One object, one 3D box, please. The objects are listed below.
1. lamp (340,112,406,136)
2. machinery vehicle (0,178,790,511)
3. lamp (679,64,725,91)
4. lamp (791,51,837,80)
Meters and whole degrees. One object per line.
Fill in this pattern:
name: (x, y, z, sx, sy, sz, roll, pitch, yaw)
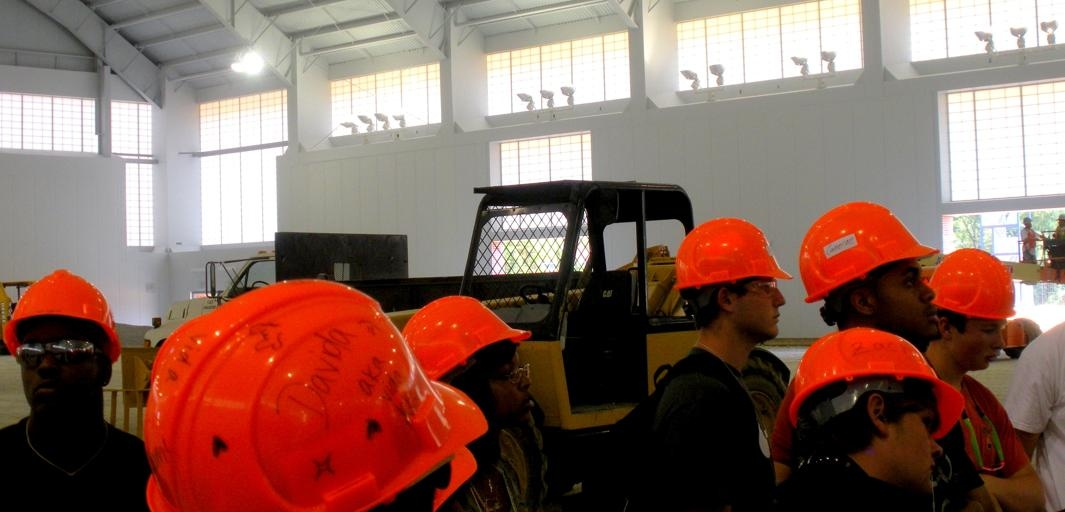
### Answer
lamp: (-7.190, -5.996, 38.347, 1.493, 0.490, 1.627, -5, -1, -40)
machinery vehicle: (-1.297, 1.550, 22.776, 11.502, 6.677, 6.539, -5, 5, -31)
lamp: (6.880, -7.164, 33.914, 1.611, 0.979, 1.648, -3, 1, 16)
lamp: (10.746, -7.460, 32.153, 2.189, 0.904, 1.058, -2, -10, 28)
